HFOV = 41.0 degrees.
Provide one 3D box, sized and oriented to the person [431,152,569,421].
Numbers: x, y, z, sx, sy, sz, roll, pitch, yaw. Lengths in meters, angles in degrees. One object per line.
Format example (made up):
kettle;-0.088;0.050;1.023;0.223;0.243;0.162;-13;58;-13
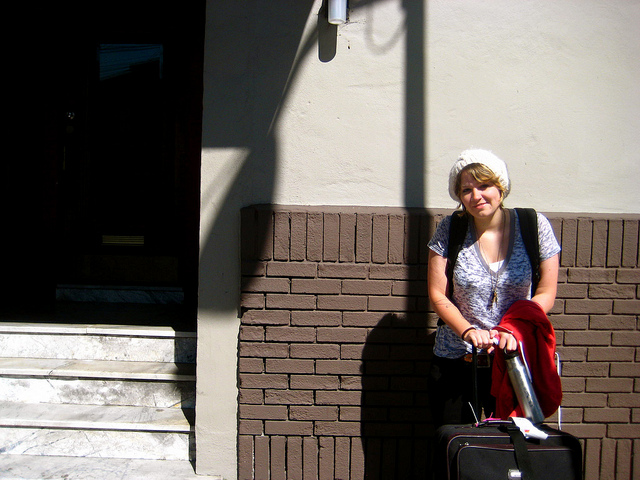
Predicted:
person;1.214;0.341;5.976;0.887;1.874;0.417;1;-4;6

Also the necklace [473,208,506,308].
necklace;1.218;0.109;5.968;0.195;0.588;0.052;-2;-10;3

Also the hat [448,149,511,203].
hat;1.120;-0.464;6.090;0.314;0.324;0.411;-7;7;7
